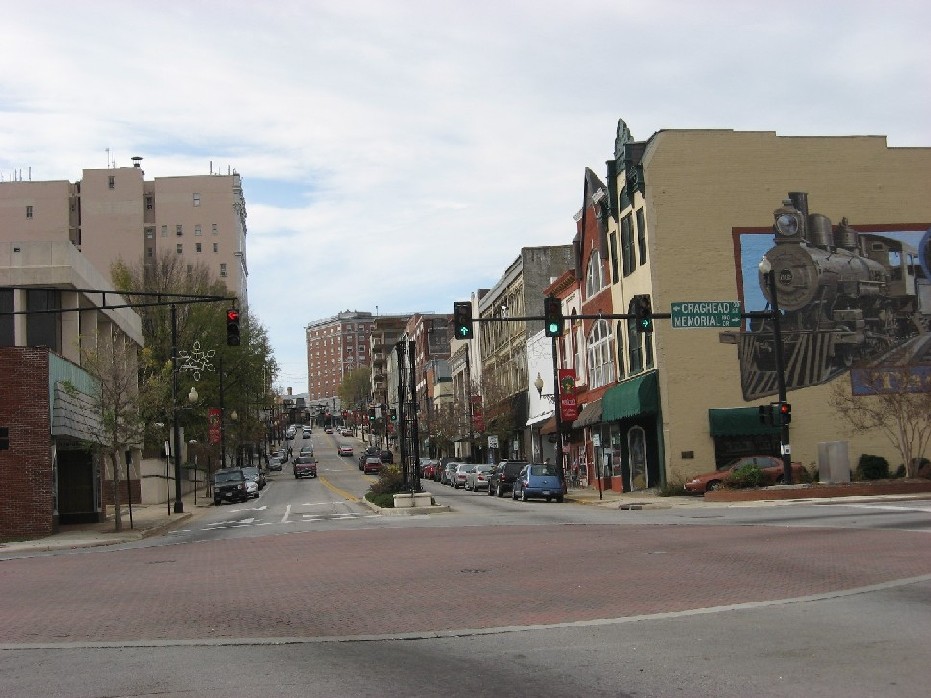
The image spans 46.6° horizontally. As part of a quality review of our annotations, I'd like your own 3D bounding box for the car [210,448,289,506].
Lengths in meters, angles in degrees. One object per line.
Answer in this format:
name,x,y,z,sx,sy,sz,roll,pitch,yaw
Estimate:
car,-12.976,8.227,60.694,2.748,2.860,7.029,0,-4,-11
